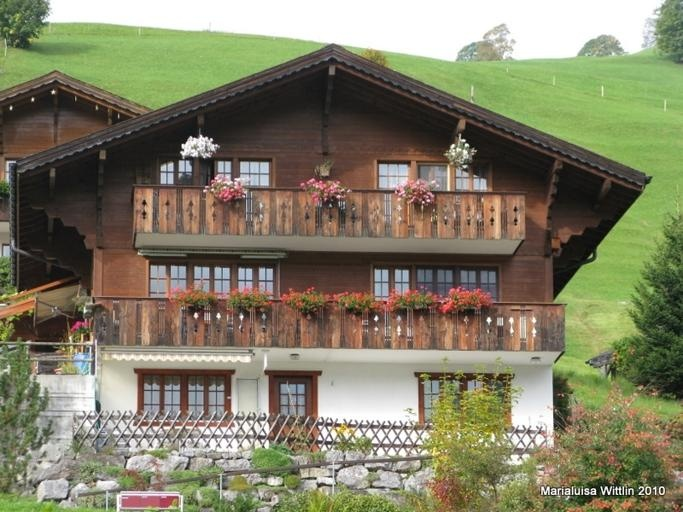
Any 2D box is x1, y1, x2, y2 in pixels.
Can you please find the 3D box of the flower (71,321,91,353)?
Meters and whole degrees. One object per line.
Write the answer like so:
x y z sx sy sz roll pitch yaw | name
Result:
-13.902 4.375 101.001 1.079 1.878 1.284 3 -10 -25 | flower

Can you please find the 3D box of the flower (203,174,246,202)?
-5.855 -3.317 97.367 1.462 1.157 1.535 1 -3 27 | flower

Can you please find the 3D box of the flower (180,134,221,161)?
-7.442 -5.547 98.424 1.390 1.055 1.415 -2 -6 -4 | flower
